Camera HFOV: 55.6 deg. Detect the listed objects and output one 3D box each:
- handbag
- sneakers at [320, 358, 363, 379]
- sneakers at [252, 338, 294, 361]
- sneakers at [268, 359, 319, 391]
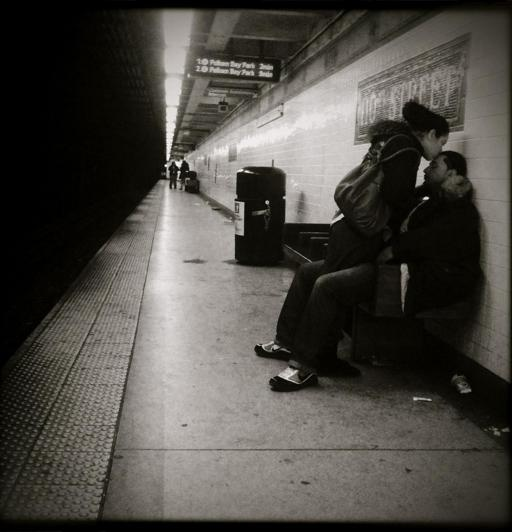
[{"bbox_3d":[0.716,-0.474,2.857,0.502,0.610,0.308,3,9,2],"label":"handbag"},{"bbox_3d":[0.517,0.641,3.037,0.193,0.068,0.122,5,1,-1],"label":"sneakers"},{"bbox_3d":[0.108,0.547,3.285,0.268,0.120,0.099,10,8,18],"label":"sneakers"},{"bbox_3d":[0.214,0.637,2.828,0.321,0.146,0.119,2,0,-29],"label":"sneakers"}]
